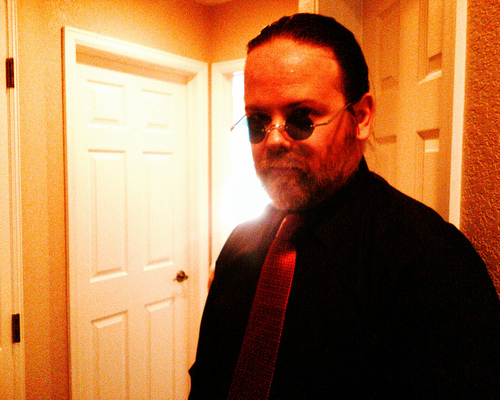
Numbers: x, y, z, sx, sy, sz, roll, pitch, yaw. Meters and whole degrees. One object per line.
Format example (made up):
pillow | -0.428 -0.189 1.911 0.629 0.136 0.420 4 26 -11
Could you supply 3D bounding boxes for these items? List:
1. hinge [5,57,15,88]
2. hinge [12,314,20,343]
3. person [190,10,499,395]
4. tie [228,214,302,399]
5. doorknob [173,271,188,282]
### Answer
hinge | -1.082 -0.574 2.040 0.034 0.138 0.017 -3 4 -30
hinge | -1.074 0.589 2.076 0.032 0.128 0.010 -2 4 -20
person | 0.221 0.027 1.170 0.768 1.056 0.342 2 5 27
tie | 0.057 0.278 1.189 0.093 0.623 0.019 9 -26 18
doorknob | -0.435 0.485 2.865 0.022 0.069 0.111 3 6 38
